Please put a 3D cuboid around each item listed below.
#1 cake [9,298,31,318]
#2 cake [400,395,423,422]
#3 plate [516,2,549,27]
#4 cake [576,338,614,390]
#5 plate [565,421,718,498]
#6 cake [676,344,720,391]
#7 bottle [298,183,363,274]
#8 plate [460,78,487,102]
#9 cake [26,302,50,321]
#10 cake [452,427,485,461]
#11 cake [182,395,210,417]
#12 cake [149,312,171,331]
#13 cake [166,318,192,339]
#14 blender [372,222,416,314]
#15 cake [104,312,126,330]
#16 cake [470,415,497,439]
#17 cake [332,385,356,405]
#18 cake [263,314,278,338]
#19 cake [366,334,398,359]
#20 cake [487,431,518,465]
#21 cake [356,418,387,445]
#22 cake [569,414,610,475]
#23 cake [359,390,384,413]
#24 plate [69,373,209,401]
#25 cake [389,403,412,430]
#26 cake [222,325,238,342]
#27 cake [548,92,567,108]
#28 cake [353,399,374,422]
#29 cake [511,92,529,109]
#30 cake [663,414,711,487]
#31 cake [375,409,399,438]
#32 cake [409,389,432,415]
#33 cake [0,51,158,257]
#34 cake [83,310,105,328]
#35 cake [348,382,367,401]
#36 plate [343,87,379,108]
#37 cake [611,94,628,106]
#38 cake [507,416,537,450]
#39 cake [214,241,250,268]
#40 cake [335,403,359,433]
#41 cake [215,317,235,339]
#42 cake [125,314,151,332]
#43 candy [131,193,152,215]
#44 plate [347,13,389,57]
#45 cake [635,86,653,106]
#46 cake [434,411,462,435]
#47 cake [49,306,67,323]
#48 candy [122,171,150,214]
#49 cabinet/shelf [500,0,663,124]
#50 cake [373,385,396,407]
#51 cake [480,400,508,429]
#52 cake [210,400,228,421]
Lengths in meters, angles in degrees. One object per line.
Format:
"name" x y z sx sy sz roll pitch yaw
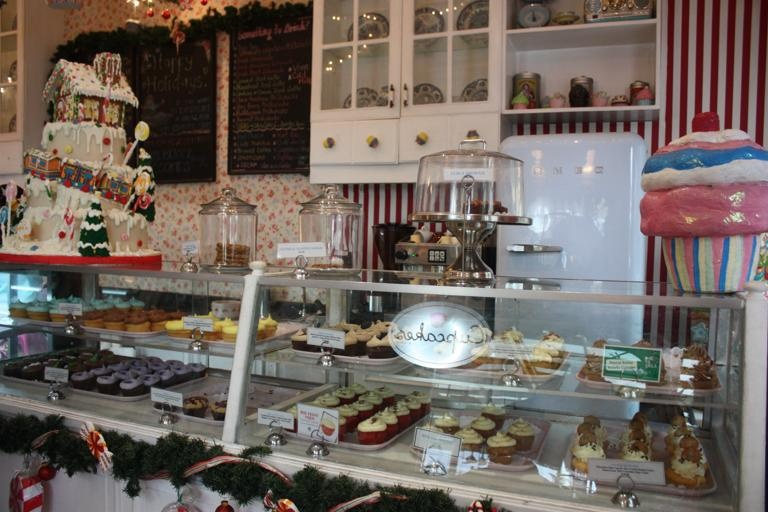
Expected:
"cake" -1.829 0.269 2.948 0.099 0.090 0.097 2 -2 -3
"cake" 0.122 0.613 2.330 0.087 0.101 0.088 -2 -2 39
"plate" 0.969 -1.567 3.755 0.198 0.203 0.107 0 -3 11
"cake" 0.757 0.395 2.092 0.137 0.052 0.158 -2 17 7
"plate" 0.912 0.736 2.091 0.341 0.108 0.296 0 3 24
"cake" 1.088 0.401 2.017 0.115 0.160 0.056 -5 14 18
"bottle" -0.227 -0.127 2.676 0.348 0.463 0.358 0 -4 0
"plate" 0.593 -1.071 3.736 0.152 0.146 0.040 4 31 15
"cake" -1.712 0.277 2.918 0.107 0.091 0.101 1 -3 1
"cake" 0.329 0.719 2.187 0.099 0.060 0.098 2 7 12
"cake" -0.809 0.658 2.507 0.083 0.056 0.088 3 -6 -17
"cake" -1.044 0.308 2.722 0.095 0.086 0.092 1 -2 -5
"cake" -0.941 0.343 2.657 0.100 0.035 0.099 4 0 6
"blender" 0.041 -0.016 3.369 0.337 0.621 0.367 0 -2 -5
"cake" -1.267 0.311 2.763 0.091 0.077 0.089 2 -3 1
"cake" 0.383 0.661 2.214 0.074 0.043 0.072 3 1 -1
"cake" -0.157 0.585 2.400 0.076 0.049 0.074 2 -4 5
"cake" -0.462 0.292 2.386 0.078 0.090 0.076 -1 2 -7
"cake" -0.003 0.364 2.330 0.109 0.074 0.103 1 -3 -5
"cake" 0.440 0.729 2.187 0.101 0.118 0.099 0 1 7
"cake" -0.043 0.695 2.298 0.098 0.082 0.096 5 -5 -30
"cake" 0.751 0.713 2.131 0.104 0.081 0.217 2 4 19
"cake" -0.048 0.600 2.373 0.088 0.076 0.085 2 -5 0
"plate" -1.152 0.622 2.712 0.272 0.029 0.284 4 6 14
"cake" 0.079 0.650 2.322 0.095 0.117 0.092 1 -7 -5
"cake" -0.669 0.342 2.535 0.080 0.066 0.078 1 -1 -10
"cake" 1.107 -1.004 3.714 0.087 0.121 0.097 0 -3 8
"cake" -0.075 0.631 2.355 0.071 0.064 0.069 0 -6 -3
"cake" 0.876 -0.992 3.705 0.114 0.146 0.108 2 -2 -5
"cake" 1.085 0.707 2.068 0.107 0.106 0.234 -1 25 12
"cake" 0.026 0.670 2.309 0.092 0.114 0.090 1 -8 4
"cake" 0.147 0.588 2.306 0.084 0.082 0.083 0 -5 15
"cake" -1.561 -0.542 3.015 0.721 1.111 0.421 -1 -4 25
"cake" -1.381 0.302 2.791 0.089 0.058 0.090 2 -2 35
"cake" -0.106 0.564 2.391 0.071 0.058 0.069 2 -4 -38
"plate" -0.124 -1.090 3.923 0.168 0.162 0.040 16 12 6
"cake" 1.490 -0.977 3.640 0.102 0.066 0.100 -5 10 -29
"cake" 0.531 0.685 2.223 0.104 0.102 0.103 5 -7 -40
"cake" -0.708 -0.010 2.736 0.136 0.085 0.133 0 3 -20
"cake" -0.146 0.662 2.307 0.086 0.078 0.084 1 -4 -5
"cake" -0.692 0.319 2.552 0.098 0.089 0.094 2 -2 -18
"cake" -1.149 0.322 2.721 0.089 0.063 0.089 1 -1 26
"candy" -1.247 -0.272 2.998 0.083 0.104 0.042 13 9 -2
"plate" -0.057 -1.544 4.017 0.241 0.232 0.056 14 12 11
"cake" 1.588 -0.990 3.602 0.124 0.119 0.122 2 2 8
"cake" 0.246 0.653 2.244 0.080 0.048 0.078 3 -1 -5
"cake" -1.591 0.295 2.886 0.082 0.074 0.081 0 -4 8
"candy" -1.296 -0.311 3.027 0.081 0.265 0.072 26 28 -5
"cabinet/shelf" 1.289 -1.259 3.722 0.895 0.802 0.292 0 -9 16
"cake" 0.007 0.580 2.368 0.081 0.078 0.079 0 -6 1
"cake" 0.429 0.613 2.251 0.098 0.110 0.093 -1 0 -44
"cake" -0.702 0.668 2.478 0.086 0.081 0.086 1 -6 -1
